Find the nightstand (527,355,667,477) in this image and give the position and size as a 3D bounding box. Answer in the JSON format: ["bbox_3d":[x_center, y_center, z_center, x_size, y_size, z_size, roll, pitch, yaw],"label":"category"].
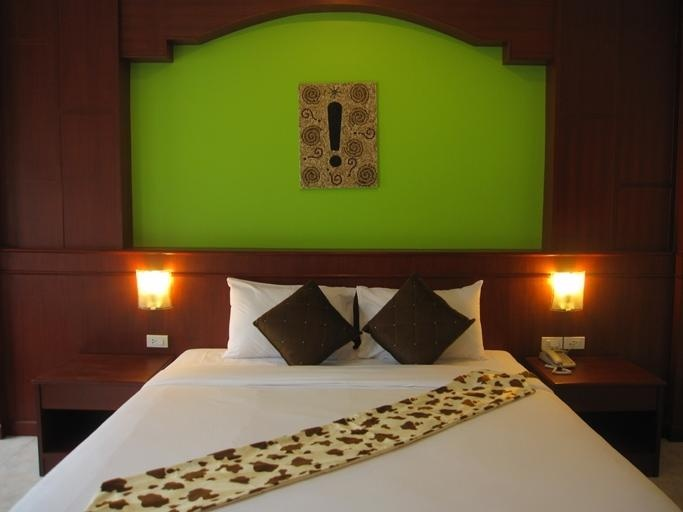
[{"bbox_3d":[1.693,0.953,4.082,0.819,0.715,0.848,-1,-89,2],"label":"nightstand"}]
